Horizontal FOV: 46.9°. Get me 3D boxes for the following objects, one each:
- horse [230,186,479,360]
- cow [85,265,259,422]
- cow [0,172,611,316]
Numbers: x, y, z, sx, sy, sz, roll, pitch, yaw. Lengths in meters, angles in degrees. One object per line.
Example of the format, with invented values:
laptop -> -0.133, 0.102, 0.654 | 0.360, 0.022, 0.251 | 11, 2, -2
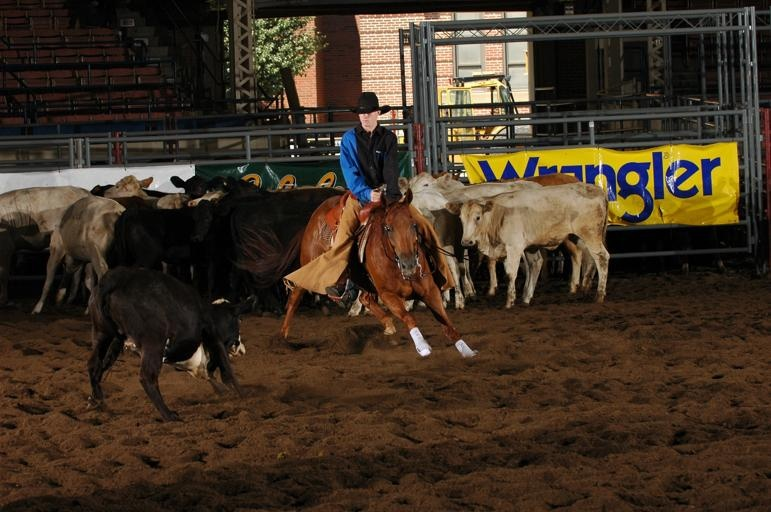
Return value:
horse -> -0.348, 0.310, 12.674 | 1.536, 2.128, 4.798 | -2, 2, -27
cow -> -2.589, 0.973, 10.349 | 1.721, 1.708, 0.818 | -5, 9, -20
cow -> -1.098, -0.185, 13.652 | 6.906, 3.549, 1.406 | 0, -17, 2
